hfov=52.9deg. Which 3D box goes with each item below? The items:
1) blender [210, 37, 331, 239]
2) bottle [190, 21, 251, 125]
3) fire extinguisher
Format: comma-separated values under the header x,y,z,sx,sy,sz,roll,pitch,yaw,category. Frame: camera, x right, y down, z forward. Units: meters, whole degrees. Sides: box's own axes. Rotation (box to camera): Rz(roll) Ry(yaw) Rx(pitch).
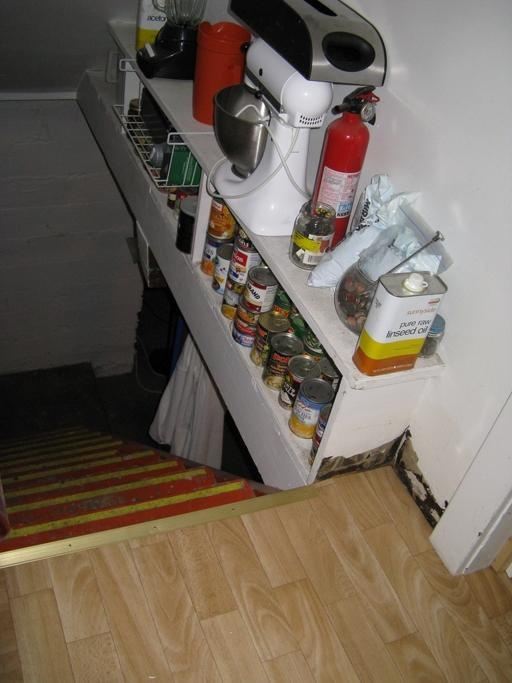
x,y,z,sx,sy,sz,roll,pitch,yaw,category
0.032,-0.449,1.100,0.168,0.314,0.295,-12,48,-27,blender
-0.093,-0.684,1.371,0.138,0.246,0.180,-16,45,-18,bottle
0.161,-0.328,0.997,0.093,0.301,0.096,10,35,-4,fire extinguisher
